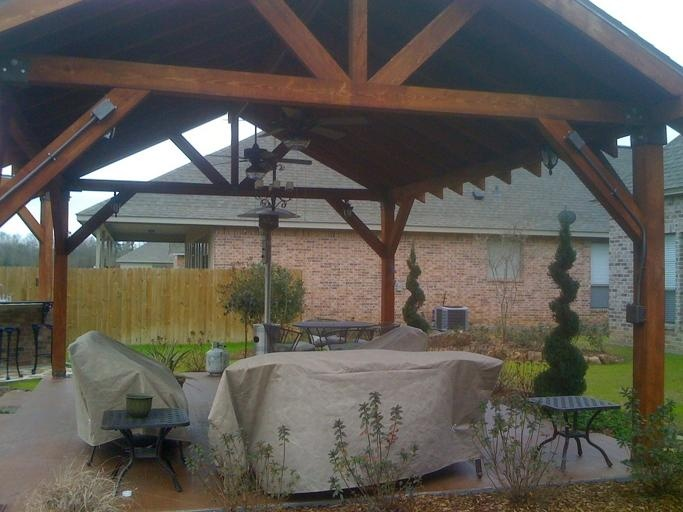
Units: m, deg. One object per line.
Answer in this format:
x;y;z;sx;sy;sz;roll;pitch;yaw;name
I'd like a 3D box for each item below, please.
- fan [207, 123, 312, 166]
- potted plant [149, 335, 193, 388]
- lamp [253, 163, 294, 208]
-1.001;-1.544;12.282;0.932;0.572;0.941;2;-3;-38;fan
-2.688;1.646;12.577;0.574;0.818;0.578;0;-9;-7;potted plant
-1.052;-1.252;12.802;0.672;1.123;0.718;2;0;-14;lamp
